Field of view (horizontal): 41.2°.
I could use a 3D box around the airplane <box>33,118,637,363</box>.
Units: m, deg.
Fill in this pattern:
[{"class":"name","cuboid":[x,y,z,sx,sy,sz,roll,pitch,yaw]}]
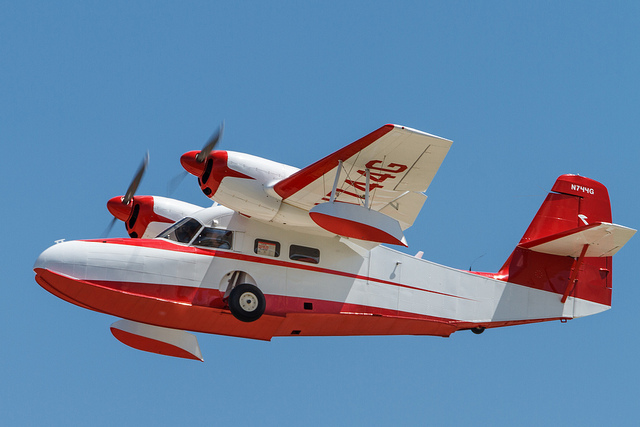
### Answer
[{"class":"airplane","cuboid":[0.339,0.874,19.783,8.366,3.065,7.758,9,-38,-18]}]
